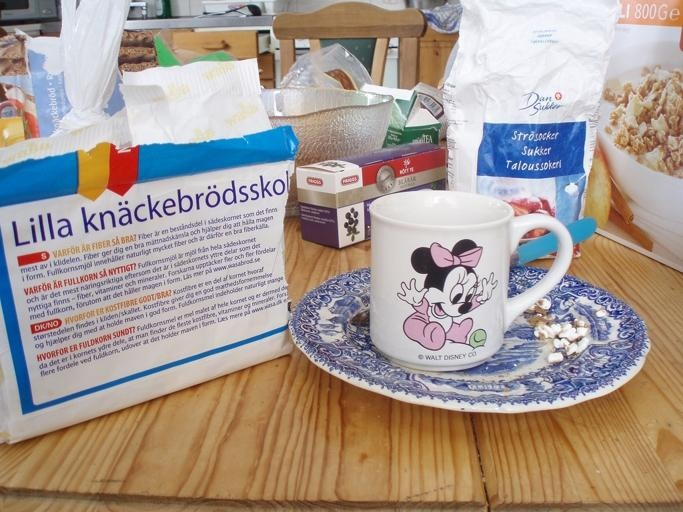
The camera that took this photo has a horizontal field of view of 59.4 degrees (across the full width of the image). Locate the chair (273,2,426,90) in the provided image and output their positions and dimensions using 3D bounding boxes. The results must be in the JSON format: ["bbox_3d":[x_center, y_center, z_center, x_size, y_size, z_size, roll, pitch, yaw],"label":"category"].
[{"bbox_3d":[-0.014,-0.583,1.663,0.320,0.223,0.404,-16,33,-27],"label":"chair"}]

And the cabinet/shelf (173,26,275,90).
[{"bbox_3d":[-0.704,-1.228,3.759,0.718,0.371,0.468,-11,32,-21],"label":"cabinet/shelf"}]

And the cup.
[{"bbox_3d":[0.083,0.016,0.519,0.120,0.115,0.136,2,30,1],"label":"cup"}]
